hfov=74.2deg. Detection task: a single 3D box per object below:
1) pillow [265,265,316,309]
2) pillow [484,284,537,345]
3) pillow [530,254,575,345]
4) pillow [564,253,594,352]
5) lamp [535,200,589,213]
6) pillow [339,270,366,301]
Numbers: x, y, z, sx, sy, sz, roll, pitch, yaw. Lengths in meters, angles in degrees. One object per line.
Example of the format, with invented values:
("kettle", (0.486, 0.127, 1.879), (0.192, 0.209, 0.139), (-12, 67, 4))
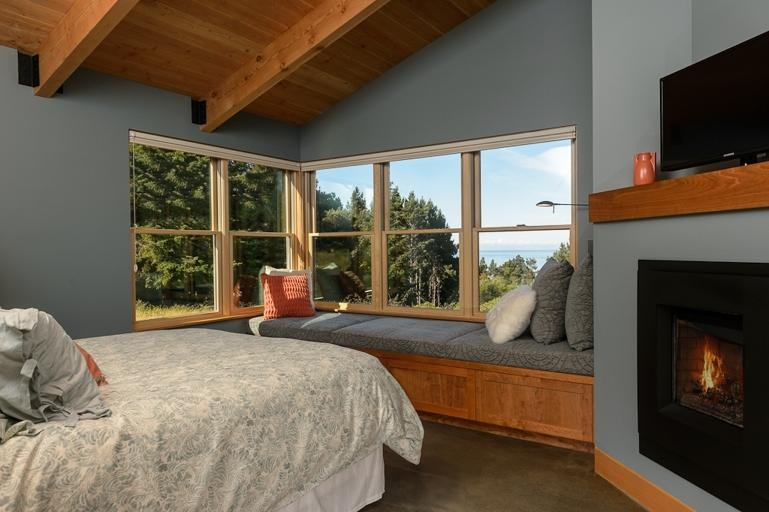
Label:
("pillow", (-1.038, 0.345, 5.477), (0.482, 0.480, 0.176), (1, -21, -17))
("pillow", (1.017, 0.460, 4.078), (0.332, 0.446, 0.317), (6, 10, 2))
("pillow", (1.306, 0.364, 3.925), (0.238, 0.460, 0.685), (-1, -4, 12))
("pillow", (1.528, 0.329, 3.934), (0.186, 0.488, 0.550), (-6, -15, 15))
("lamp", (1.586, -0.432, 4.482), (0.559, 0.140, 0.168), (0, -2, -7))
("pillow", (-0.338, 0.337, 5.709), (0.084, 0.307, 0.314), (-15, 49, -28))
